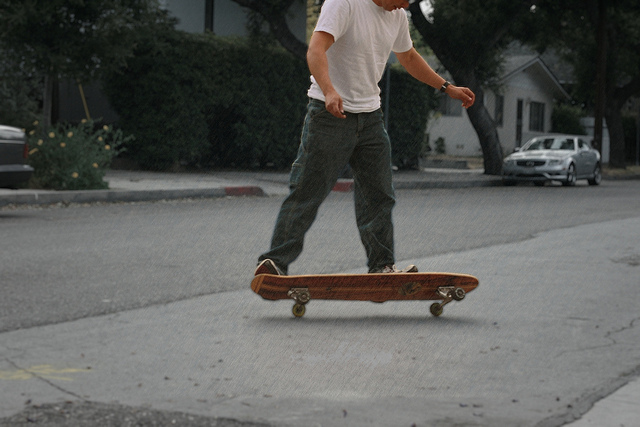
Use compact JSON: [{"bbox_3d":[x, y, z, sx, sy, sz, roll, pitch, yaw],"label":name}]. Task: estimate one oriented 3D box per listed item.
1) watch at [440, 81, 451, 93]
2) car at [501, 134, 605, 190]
[{"bbox_3d":[1.230,-1.254,8.929,0.026,0.093,0.094,37,17,3],"label":"watch"},{"bbox_3d":[6.473,-1.423,24.119,1.317,1.029,2.879,2,0,32],"label":"car"}]
